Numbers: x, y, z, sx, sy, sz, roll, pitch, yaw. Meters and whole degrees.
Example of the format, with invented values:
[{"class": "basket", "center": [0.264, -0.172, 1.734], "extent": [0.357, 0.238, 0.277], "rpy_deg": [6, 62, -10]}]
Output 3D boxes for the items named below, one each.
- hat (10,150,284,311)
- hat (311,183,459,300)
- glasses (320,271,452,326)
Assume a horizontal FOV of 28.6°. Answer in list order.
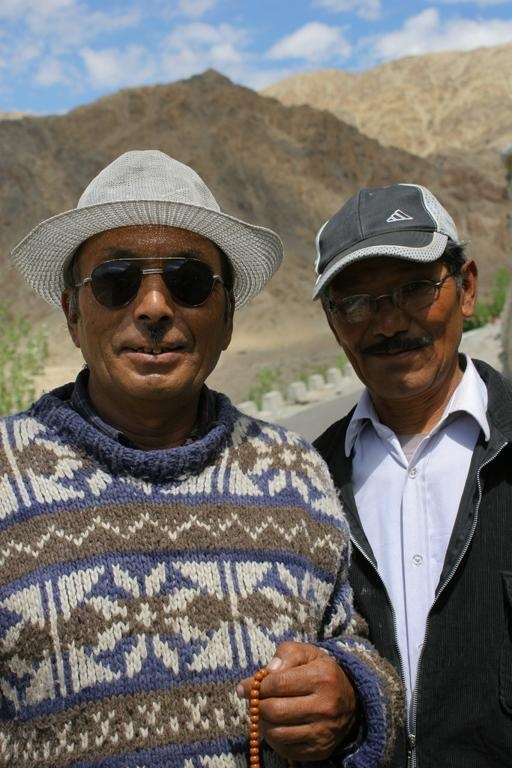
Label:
[{"class": "hat", "center": [-0.374, -0.389, 2.862], "extent": [0.645, 0.233, 0.605], "rpy_deg": [16, -26, -35]}, {"class": "hat", "center": [0.390, -0.444, 3.149], "extent": [0.362, 0.214, 0.478], "rpy_deg": [-20, -4, 31]}, {"class": "glasses", "center": [0.415, -0.257, 3.174], "extent": [0.246, 0.053, 0.224], "rpy_deg": [-10, 11, 17]}]
